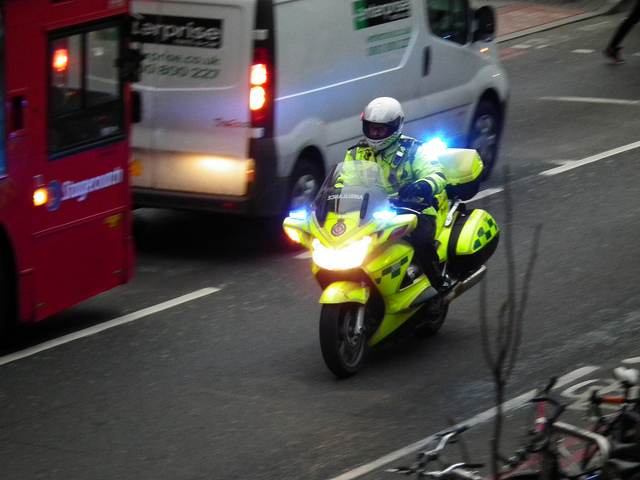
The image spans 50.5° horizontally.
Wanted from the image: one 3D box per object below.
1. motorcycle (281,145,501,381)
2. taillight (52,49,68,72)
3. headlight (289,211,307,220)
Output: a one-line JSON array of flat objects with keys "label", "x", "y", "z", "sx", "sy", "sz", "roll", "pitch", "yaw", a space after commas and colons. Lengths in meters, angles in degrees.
[{"label": "motorcycle", "x": 0.676, "y": 0.177, "z": 6.265, "sx": 2.236, "sy": 1.794, "sz": 0.863, "roll": -21, "pitch": 32, "yaw": -40}, {"label": "taillight", "x": -2.424, "y": -1.678, "z": 6.318, "sx": 0.040, "sy": 0.194, "sz": 0.214, "roll": 8, "pitch": 25, "yaw": 15}, {"label": "headlight", "x": -0.186, "y": -0.222, "z": 5.905, "sx": 0.125, "sy": 0.048, "sz": 0.065, "roll": -1, "pitch": 7, "yaw": 12}]
